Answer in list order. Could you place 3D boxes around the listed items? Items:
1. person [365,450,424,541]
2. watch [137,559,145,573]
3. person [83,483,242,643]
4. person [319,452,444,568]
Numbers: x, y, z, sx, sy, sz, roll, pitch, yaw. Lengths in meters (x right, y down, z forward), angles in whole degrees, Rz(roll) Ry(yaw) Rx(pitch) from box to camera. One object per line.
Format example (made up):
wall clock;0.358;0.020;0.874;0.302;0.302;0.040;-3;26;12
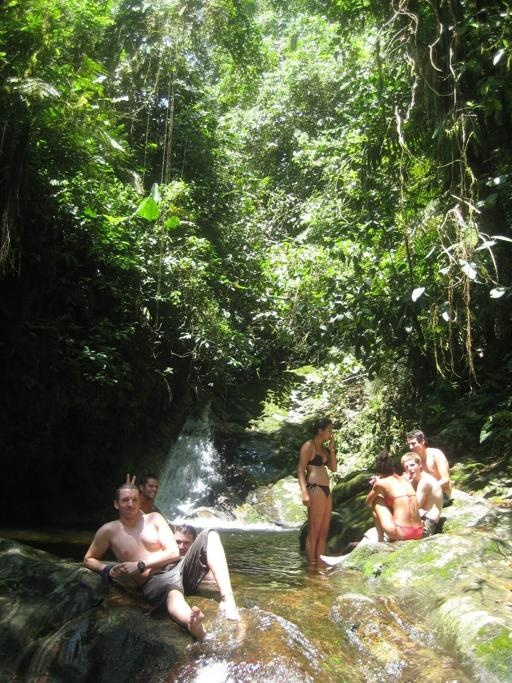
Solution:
person;1.456;1.649;5.748;0.397;0.911;0.759;0;11;-21
watch;-0.765;1.518;3.837;0.051;0.078;0.073;0;-33;-18
person;-0.595;1.461;3.901;1.266;0.757;0.623;-1;0;42
person;1.462;1.667;6.051;1.388;0.856;0.832;1;-14;-26
